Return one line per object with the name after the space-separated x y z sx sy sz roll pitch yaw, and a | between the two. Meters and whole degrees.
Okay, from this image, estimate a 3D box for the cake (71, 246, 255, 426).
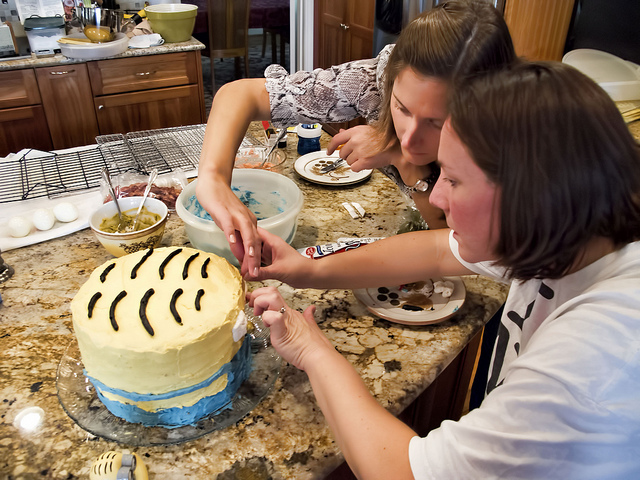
-0.360 0.215 1.012 0.374 0.247 0.392 -9 34 -13 | cake

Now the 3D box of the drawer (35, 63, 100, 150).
-1.832 -0.989 3.129 0.379 0.566 0.065 -29 45 -34 | drawer

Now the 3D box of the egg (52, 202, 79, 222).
-0.894 -0.102 1.508 0.082 0.062 0.068 -23 40 -31 | egg

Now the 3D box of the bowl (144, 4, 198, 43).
-1.194 -1.768 3.464 0.386 0.259 0.411 0 33 0 | bowl

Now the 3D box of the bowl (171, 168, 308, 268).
-0.225 -0.089 1.344 0.404 0.169 0.377 4 35 -3 | bowl

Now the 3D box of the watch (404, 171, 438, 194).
0.375 -0.198 1.557 0.095 0.047 0.074 -28 8 46 | watch

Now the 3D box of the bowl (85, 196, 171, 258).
-0.593 -0.047 1.373 0.256 0.135 0.223 -3 32 -3 | bowl

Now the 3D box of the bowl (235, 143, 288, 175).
-0.229 -0.351 1.694 0.158 0.063 0.150 7 34 -4 | bowl

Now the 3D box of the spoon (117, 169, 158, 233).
-0.570 -0.131 1.399 0.063 0.266 0.039 26 -4 -2 | spoon

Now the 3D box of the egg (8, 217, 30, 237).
-1.003 -0.041 1.422 0.059 0.062 0.040 -20 40 -27 | egg
